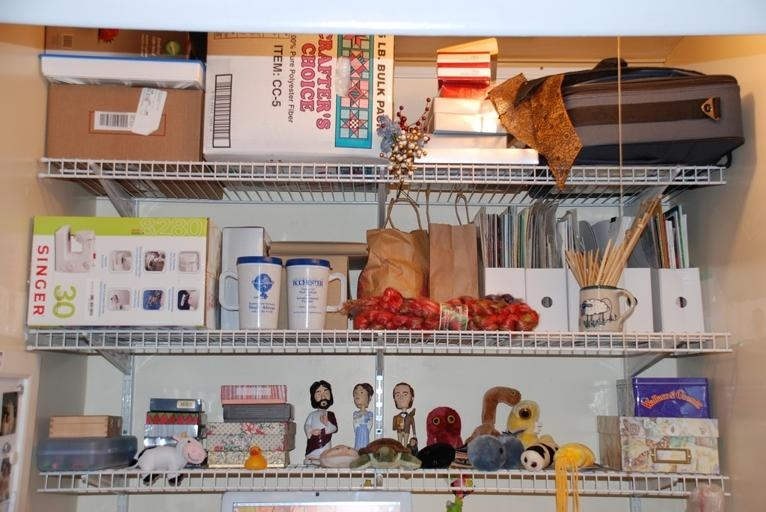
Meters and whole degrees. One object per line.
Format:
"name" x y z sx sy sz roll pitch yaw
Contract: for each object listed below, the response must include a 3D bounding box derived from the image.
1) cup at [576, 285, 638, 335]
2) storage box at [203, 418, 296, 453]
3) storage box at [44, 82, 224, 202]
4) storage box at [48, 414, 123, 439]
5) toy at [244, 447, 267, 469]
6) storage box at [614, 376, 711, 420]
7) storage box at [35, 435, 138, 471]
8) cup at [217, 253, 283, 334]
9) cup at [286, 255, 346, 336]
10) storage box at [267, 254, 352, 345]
"cup" 0.577 0.139 2.401 0.143 0.139 0.096 2 -12 0
"storage box" -0.356 0.479 2.470 0.230 0.076 0.090 3 -11 -14
"storage box" -0.693 -0.348 2.593 0.423 0.259 0.300 1 9 -7
"storage box" -0.785 0.444 2.425 0.178 0.056 0.070 5 -12 -28
"toy" -0.334 0.528 2.407 0.050 0.051 0.053 0 -27 -2
"storage box" 0.762 0.397 2.512 0.162 0.093 0.125 1 -11 -3
"storage box" -0.765 0.523 2.465 0.137 0.088 0.300 -7 -13 34
"cup" -0.349 0.098 2.420 0.168 0.196 0.136 2 -10 -9
"cup" -0.193 0.097 2.403 0.183 0.210 0.135 0 -3 -6
"storage box" -0.199 0.090 2.416 0.205 0.214 0.141 1 -5 -19
